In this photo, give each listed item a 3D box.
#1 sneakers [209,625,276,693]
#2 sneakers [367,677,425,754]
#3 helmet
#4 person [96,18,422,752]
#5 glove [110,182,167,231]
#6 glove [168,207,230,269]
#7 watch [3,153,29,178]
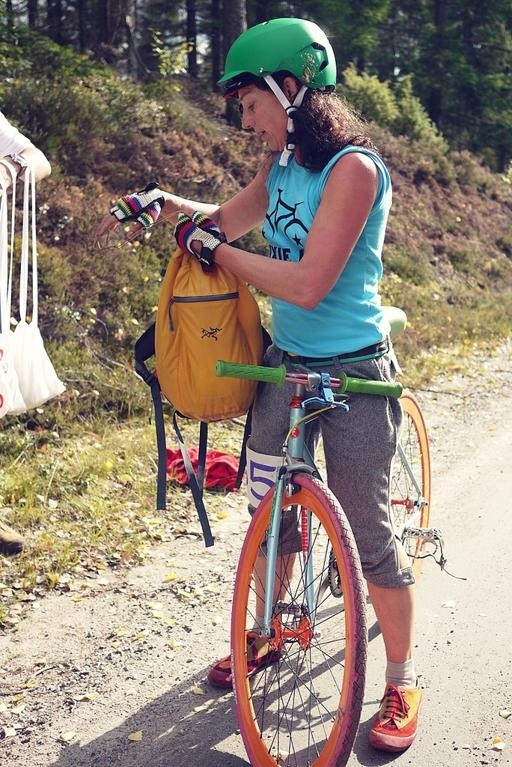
[{"bbox_3d":[-0.070,1.124,3.790,0.144,0.153,0.398,1,-2,37],"label":"sneakers"},{"bbox_3d":[0.508,1.226,3.443,0.109,0.110,0.306,3,9,18],"label":"sneakers"},{"bbox_3d":[0.083,-1.075,3.152,0.319,0.185,0.241,-8,16,4],"label":"helmet"},{"bbox_3d":[0.146,0.044,3.390,1.254,2.556,0.697,17,20,33],"label":"person"},{"bbox_3d":[-0.416,-0.624,3.370,0.167,0.088,0.194,-14,14,33],"label":"glove"},{"bbox_3d":[-0.192,-0.512,3.303,0.095,0.126,0.221,-1,48,-51],"label":"glove"},{"bbox_3d":[-0.934,-0.853,3.622,0.071,0.093,0.038,3,33,-29],"label":"watch"}]
